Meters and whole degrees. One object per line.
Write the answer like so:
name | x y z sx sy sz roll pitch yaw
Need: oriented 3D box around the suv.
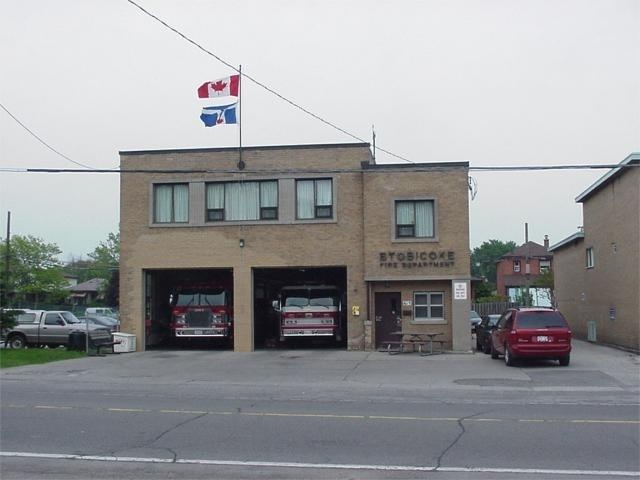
suv | 7.452 3.331 34.082 2.311 2.137 3.026 1 -4 8
